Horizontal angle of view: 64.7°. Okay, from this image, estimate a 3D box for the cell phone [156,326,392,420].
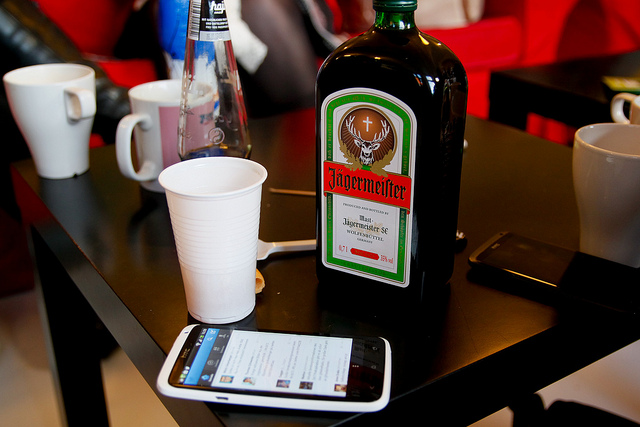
[{"bbox_3d":[-0.043,0.184,0.576,0.219,0.029,0.120,2,39,3],"label":"cell phone"}]

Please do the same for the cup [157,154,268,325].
[{"bbox_3d":[-0.148,0.053,0.691,0.168,0.212,0.162,-3,-8,0],"label":"cup"}]

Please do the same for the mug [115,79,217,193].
[{"bbox_3d":[-0.305,-0.122,0.911,0.119,0.163,0.196,10,25,11],"label":"mug"}]

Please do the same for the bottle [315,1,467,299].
[{"bbox_3d":[0.096,-0.069,0.657,0.201,0.337,0.162,10,32,15],"label":"bottle"}]
